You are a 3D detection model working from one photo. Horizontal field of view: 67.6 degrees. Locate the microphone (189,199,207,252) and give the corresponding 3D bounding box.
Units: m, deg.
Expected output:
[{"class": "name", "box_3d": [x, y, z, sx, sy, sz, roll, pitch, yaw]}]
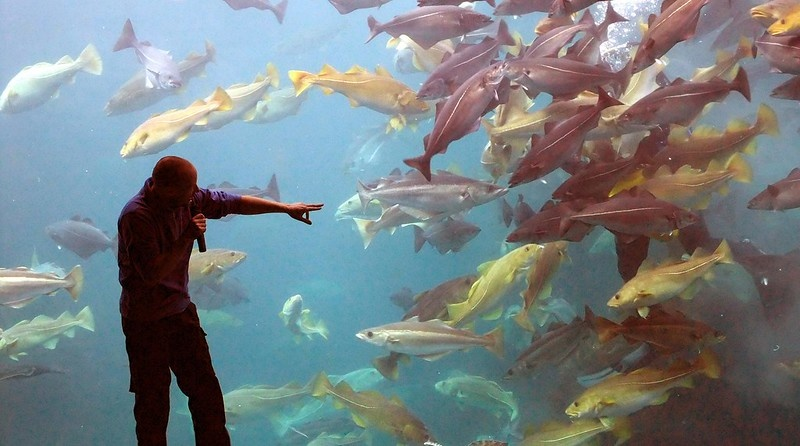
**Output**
[{"class": "microphone", "box_3d": [-4.135, 0.101, 12.311, 0.285, 1.230, 0.296, -7, -20, -17]}]
